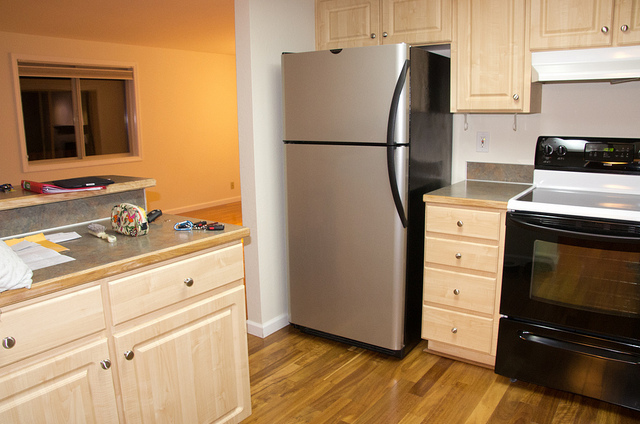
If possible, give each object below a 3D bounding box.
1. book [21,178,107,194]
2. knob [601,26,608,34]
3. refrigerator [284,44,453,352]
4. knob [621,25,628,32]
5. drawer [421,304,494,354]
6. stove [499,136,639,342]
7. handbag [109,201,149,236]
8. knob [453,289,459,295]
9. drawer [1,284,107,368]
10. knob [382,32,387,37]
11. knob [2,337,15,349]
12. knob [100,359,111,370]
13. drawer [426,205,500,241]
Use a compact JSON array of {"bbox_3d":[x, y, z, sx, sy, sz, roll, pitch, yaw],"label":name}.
[{"bbox_3d":[-1.515,-0.137,2.587,0.504,0.080,0.182,-2,14,1],"label":"book"},{"bbox_3d":[1.737,-1.109,2.765,0.034,0.044,0.018,-3,14,-2],"label":"knob"},{"bbox_3d":[0.312,-0.087,3.292,1.172,2.105,0.654,0,14,11],"label":"refrigerator"},{"bbox_3d":[1.831,-1.104,2.728,0.031,0.032,0.018,12,11,37],"label":"knob"},{"bbox_3d":[0.941,0.801,3.108,0.311,0.157,0.328,5,3,38],"label":"drawer"},{"bbox_3d":[1.622,0.108,2.942,0.748,1.109,0.710,4,16,26],"label":"stove"},{"bbox_3d":[-1.061,0.033,2.489,0.261,0.185,0.098,7,11,30],"label":"handbag"},{"bbox_3d":[0.924,0.547,3.070,0.030,0.023,0.031,12,18,37],"label":"knob"},{"bbox_3d":[-1.173,0.487,1.993,0.264,0.267,0.441,4,9,35],"label":"drawer"},{"bbox_3d":[0.478,-1.312,3.355,0.028,0.039,0.021,13,28,26],"label":"knob"},{"bbox_3d":[-1.305,0.550,1.898,0.041,0.052,0.016,-9,15,-23],"label":"knob"},{"bbox_3d":[-0.999,0.714,2.114,0.041,0.030,0.041,9,20,41],"label":"knob"},{"bbox_3d":[0.944,0.075,3.014,0.468,0.197,0.038,4,16,26],"label":"drawer"}]
